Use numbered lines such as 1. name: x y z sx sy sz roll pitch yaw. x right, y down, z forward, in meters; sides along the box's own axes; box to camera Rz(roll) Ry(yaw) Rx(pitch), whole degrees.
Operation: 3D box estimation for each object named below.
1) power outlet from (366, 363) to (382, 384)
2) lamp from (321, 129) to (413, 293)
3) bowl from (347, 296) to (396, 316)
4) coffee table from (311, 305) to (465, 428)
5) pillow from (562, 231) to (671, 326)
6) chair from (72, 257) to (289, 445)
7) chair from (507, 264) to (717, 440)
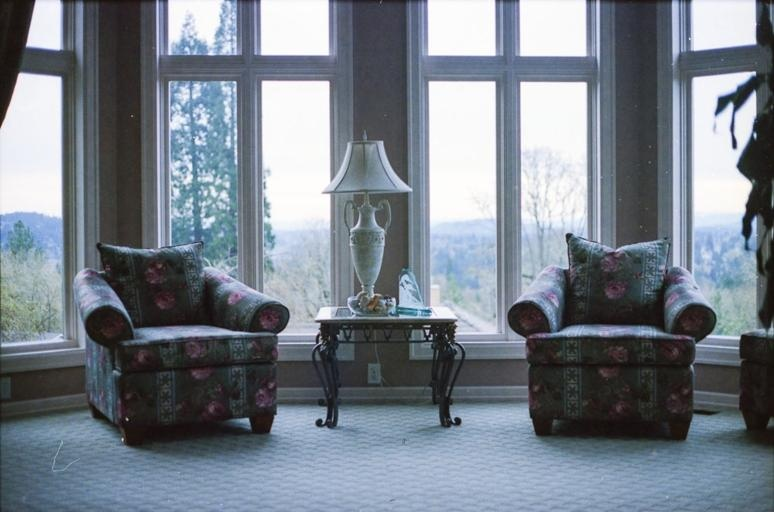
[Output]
1. power outlet: -0.105 0.901 5.870 0.159 0.215 0.021 0 -3 -4
2. lamp: -0.164 -0.295 5.503 0.605 1.181 0.701 -2 12 -6
3. bowl: -0.105 0.338 5.251 0.332 0.124 0.207 0 11 1
4. coffee table: -0.019 0.803 5.495 1.039 0.729 0.722 0 -1 -3
5. pillow: 1.660 0.190 5.507 0.732 0.667 0.263 1 -1 15
6. chair: -1.517 0.615 5.394 1.272 1.032 1.162 3 -9 -27
7. chair: 1.563 0.757 5.448 1.255 1.051 1.047 -1 -11 10
